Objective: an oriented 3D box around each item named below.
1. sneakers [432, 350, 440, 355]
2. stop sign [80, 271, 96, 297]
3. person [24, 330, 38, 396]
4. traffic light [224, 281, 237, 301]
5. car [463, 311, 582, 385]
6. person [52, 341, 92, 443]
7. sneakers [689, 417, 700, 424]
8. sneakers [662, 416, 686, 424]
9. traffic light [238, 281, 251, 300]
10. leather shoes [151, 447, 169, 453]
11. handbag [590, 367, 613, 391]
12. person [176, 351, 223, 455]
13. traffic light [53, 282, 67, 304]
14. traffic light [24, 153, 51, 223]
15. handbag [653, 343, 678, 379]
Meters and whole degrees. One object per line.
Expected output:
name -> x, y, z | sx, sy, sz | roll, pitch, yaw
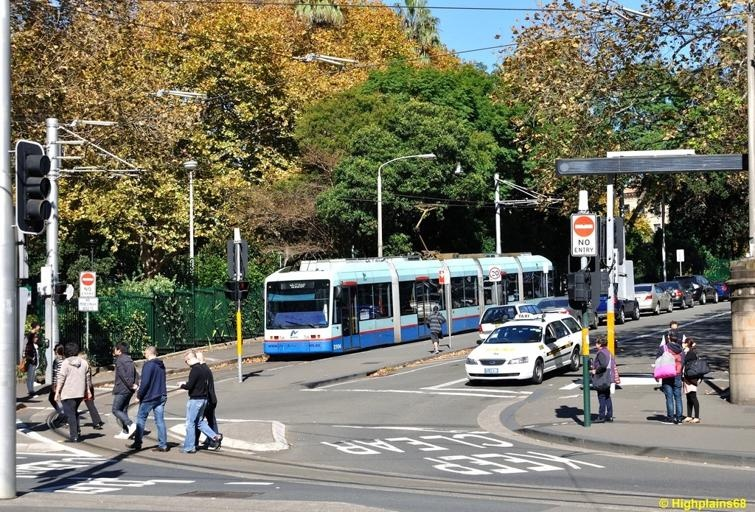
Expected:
sneakers -> 2.420, 3.899, 47.733 | 0.419, 0.157, 0.159 | 4, 0, 2
stop sign -> -10.264, 0.992, 41.365 | 0.520, 0.912, 0.336 | -2, -2, -7
person -> -11.317, 3.428, 38.220 | 0.456, 2.323, 1.175 | -2, -3, -18
traffic light -> -5.114, 1.188, 41.272 | 0.630, 0.720, 0.520 | -1, -3, 4
car -> 5.254, 3.218, 40.695 | 1.985, 2.339, 4.503 | -5, -4, 40
person -> -8.476, 3.777, 32.651 | 0.731, 2.749, 0.886 | -4, -3, 30
sneakers -> 8.922, 4.569, 32.577 | 0.268, 0.122, 0.087 | 17, -17, -40
sneakers -> 8.308, 4.554, 32.539 | 0.550, 0.235, 0.224 | 2, -3, 13
traffic light -> -4.682, 1.179, 41.421 | 0.515, 1.025, 0.531 | 1, 0, 2
leather shoes -> -5.792, 5.140, 31.200 | 0.395, 0.169, 0.153 | 3, -2, 22
handbag -> 6.408, 3.448, 33.055 | 0.601, 0.851, 0.470 | -6, -39, 25
person -> -4.736, 3.845, 31.012 | 0.957, 2.698, 0.540 | -2, -2, -17
traffic light -> -11.056, 1.244, 40.618 | 0.384, 0.441, 0.731 | -3, -8, -4
traffic light -> -8.011, -1.598, 27.548 | 0.580, 1.683, 0.363 | -1, -2, -24
handbag -> 8.121, 2.961, 32.706 | 0.543, 0.889, 0.298 | -4, -3, 26
